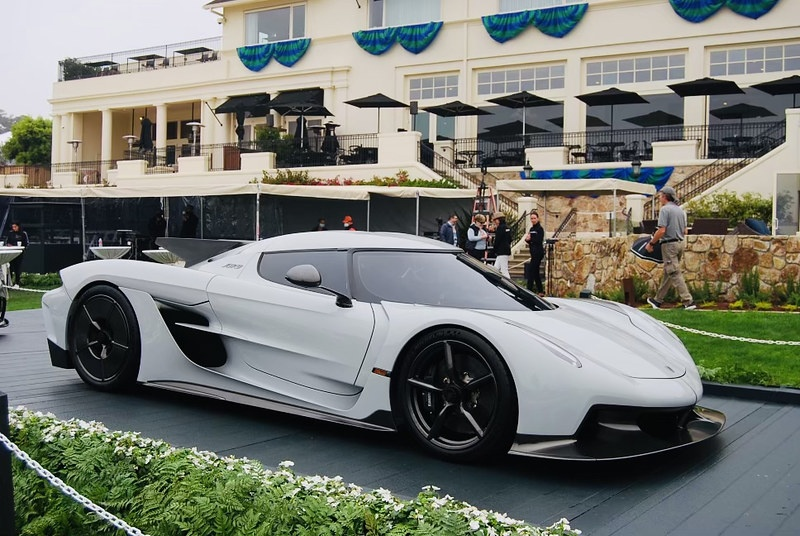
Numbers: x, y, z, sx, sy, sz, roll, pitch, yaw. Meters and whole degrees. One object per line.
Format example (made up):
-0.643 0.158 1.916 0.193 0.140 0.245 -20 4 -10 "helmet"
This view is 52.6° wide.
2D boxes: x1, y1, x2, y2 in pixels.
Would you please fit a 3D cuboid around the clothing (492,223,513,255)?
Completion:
2.582 -0.701 20.023 0.469 0.779 0.332 -5 8 -33 "clothing"

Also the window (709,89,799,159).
12.321 -5.199 28.673 2.775 2.376 3.014 0 3 22 "window"

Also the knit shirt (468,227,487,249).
1.943 -0.740 20.355 0.462 0.597 0.532 1 11 30 "knit shirt"

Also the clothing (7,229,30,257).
-10.583 -0.694 22.376 0.465 0.668 0.920 -4 9 -30 "clothing"

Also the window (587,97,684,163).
9.528 -4.749 31.398 2.951 2.358 3.593 6 -9 7 "window"

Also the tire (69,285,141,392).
-3.322 0.788 9.177 0.760 0.965 0.315 26 19 27 "tire"

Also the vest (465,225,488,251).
1.921 -0.745 20.383 0.513 0.674 0.597 0 5 30 "vest"

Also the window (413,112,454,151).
1.499 -5.798 34.719 1.854 1.531 0.100 12 15 35 "window"

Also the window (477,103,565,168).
4.941 -5.361 33.860 2.842 1.811 3.205 -4 9 29 "window"
